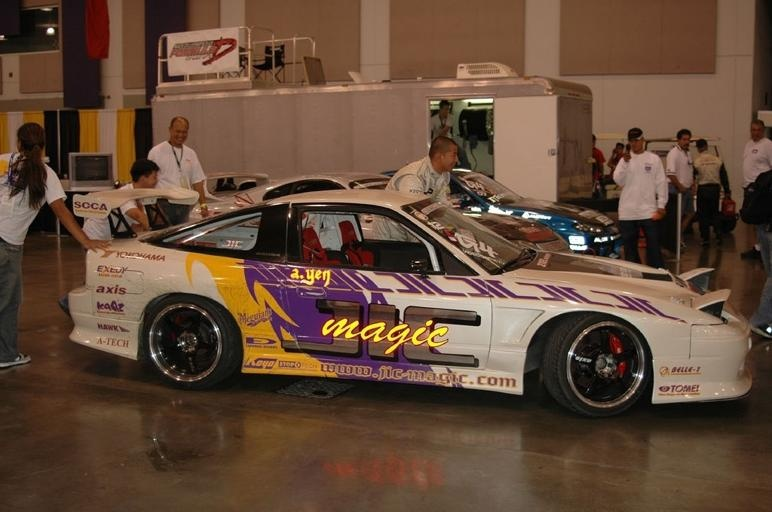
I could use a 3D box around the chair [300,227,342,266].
[{"bbox_3d":[-0.687,-0.157,7.766,0.443,0.462,0.294,7,36,-12],"label":"chair"}]
